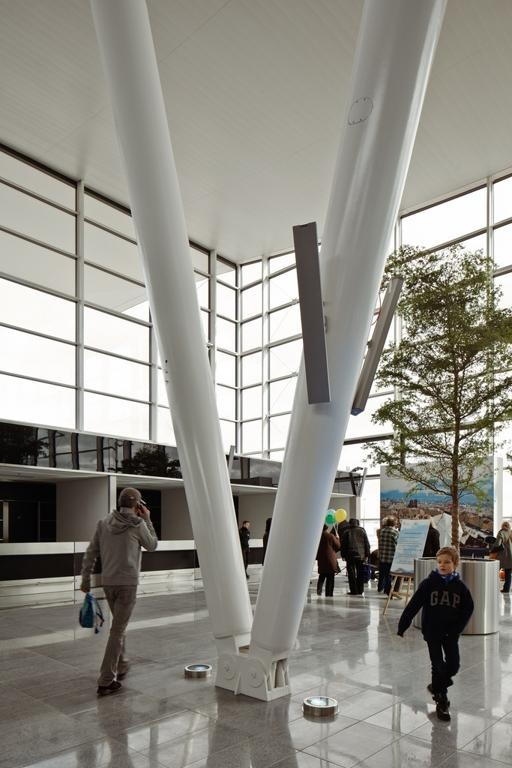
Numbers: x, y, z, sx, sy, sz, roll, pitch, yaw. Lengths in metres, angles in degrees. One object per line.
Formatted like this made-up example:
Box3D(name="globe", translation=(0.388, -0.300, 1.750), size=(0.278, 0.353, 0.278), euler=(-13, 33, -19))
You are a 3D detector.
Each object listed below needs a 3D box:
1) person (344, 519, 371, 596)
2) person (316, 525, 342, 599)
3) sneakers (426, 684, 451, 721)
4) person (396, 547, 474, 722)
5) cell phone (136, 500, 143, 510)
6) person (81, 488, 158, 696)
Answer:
Box3D(name="person", translation=(2.204, 3.848, 12.120), size=(0.531, 1.751, 1.142), euler=(-1, -6, 13))
Box3D(name="person", translation=(1.568, 3.889, 11.897), size=(0.473, 1.615, 1.525), euler=(0, -6, 6))
Box3D(name="sneakers", translation=(1.247, 2.194, 3.724), size=(0.094, 0.136, 0.299), euler=(2, -1, 4))
Box3D(name="person", translation=(1.269, 1.759, 3.873), size=(0.490, 1.123, 0.572), euler=(-2, -6, 18))
Box3D(name="cell phone", translation=(-1.107, 1.154, 5.199), size=(0.043, 0.083, 0.073), euler=(3, 4, 3))
Box3D(name="person", translation=(-1.188, 1.790, 4.760), size=(0.637, 1.706, 0.879), euler=(2, -6, -18))
